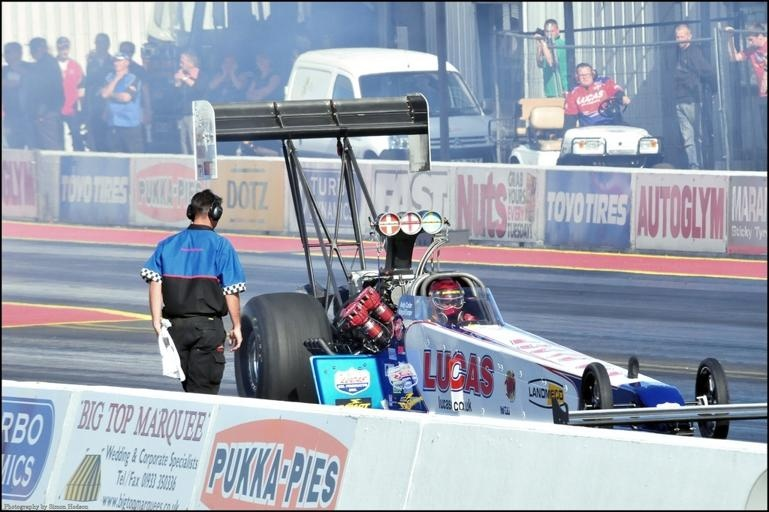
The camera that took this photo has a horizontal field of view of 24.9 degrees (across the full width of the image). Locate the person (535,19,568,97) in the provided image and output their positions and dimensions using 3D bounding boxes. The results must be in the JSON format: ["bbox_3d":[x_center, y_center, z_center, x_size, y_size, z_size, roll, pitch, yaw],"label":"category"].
[{"bbox_3d":[3.300,-3.889,34.348,0.615,1.397,0.427,-1,0,6],"label":"person"}]

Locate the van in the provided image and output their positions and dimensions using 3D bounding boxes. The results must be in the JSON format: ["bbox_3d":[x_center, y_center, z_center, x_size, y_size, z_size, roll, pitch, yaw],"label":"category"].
[{"bbox_3d":[0.256,-2.904,33.364,2.101,1.867,3.582,-3,3,-31],"label":"van"}]

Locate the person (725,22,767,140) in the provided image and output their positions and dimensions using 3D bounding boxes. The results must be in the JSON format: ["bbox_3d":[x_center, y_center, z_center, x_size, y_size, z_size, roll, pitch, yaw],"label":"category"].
[{"bbox_3d":[6.938,-3.336,33.242,0.698,2.113,0.518,-1,0,11],"label":"person"}]

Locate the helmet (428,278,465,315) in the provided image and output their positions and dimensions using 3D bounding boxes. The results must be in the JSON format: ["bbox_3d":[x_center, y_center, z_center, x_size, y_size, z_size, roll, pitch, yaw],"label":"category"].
[{"bbox_3d":[0.835,0.530,23.079,0.382,0.423,0.470,-4,0,-13],"label":"helmet"}]

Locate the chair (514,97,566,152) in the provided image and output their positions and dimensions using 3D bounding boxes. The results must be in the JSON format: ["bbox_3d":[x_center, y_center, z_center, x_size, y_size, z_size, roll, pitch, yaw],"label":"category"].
[{"bbox_3d":[3.070,-2.561,33.768,1.126,1.113,0.951,1,-4,2],"label":"chair"}]
